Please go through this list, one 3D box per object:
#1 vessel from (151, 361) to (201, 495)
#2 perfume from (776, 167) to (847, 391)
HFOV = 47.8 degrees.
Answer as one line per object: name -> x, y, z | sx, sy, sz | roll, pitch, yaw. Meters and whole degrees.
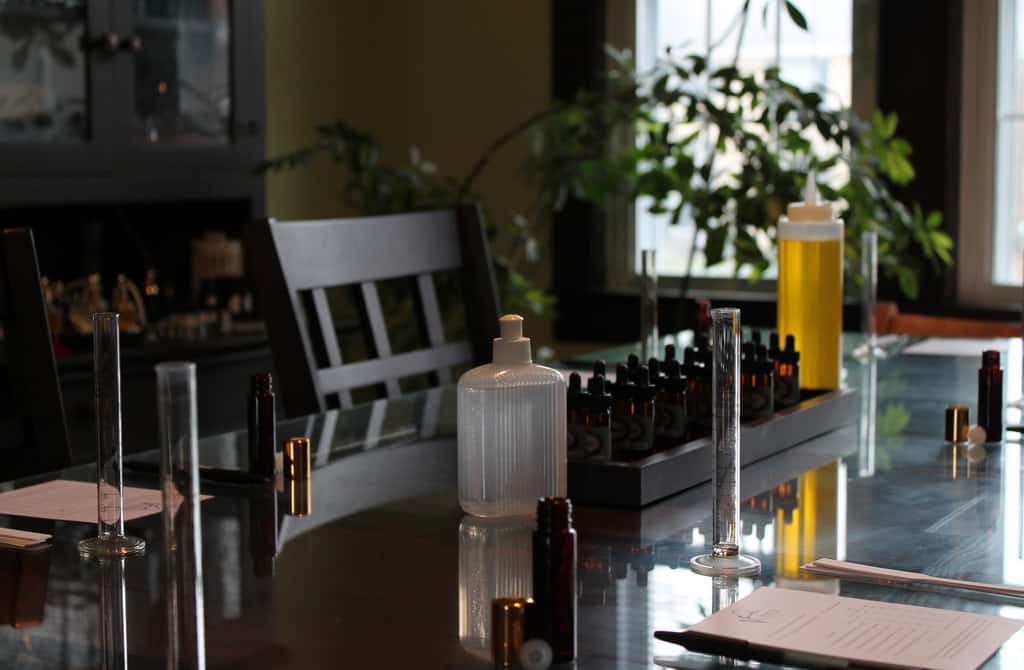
vessel -> -0.302, 0.094, 1.045 | 0.037, 0.154, 0.034 | 5, 19, 1
perfume -> 0.448, -0.070, 1.731 | 0.084, 0.329, 0.084 | -7, 21, -2
